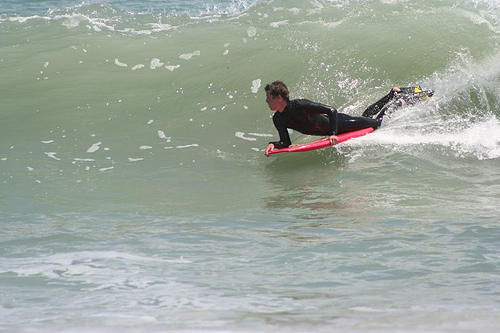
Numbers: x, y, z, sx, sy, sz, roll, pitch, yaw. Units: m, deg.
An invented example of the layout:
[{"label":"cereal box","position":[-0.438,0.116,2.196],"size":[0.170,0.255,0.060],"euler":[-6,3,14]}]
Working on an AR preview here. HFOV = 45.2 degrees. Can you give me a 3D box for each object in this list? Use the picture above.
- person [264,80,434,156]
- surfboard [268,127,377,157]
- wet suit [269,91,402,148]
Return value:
[{"label":"person","position":[1.894,-1.170,11.615],"size":[3.510,0.883,1.203],"euler":[-16,9,-19]},{"label":"surfboard","position":[1.432,-0.466,11.436],"size":[2.414,0.108,0.244],"euler":[-10,4,-8]},{"label":"wet suit","position":[1.764,-0.928,11.637],"size":[3.114,0.611,1.144],"euler":[-5,-10,-28]}]
